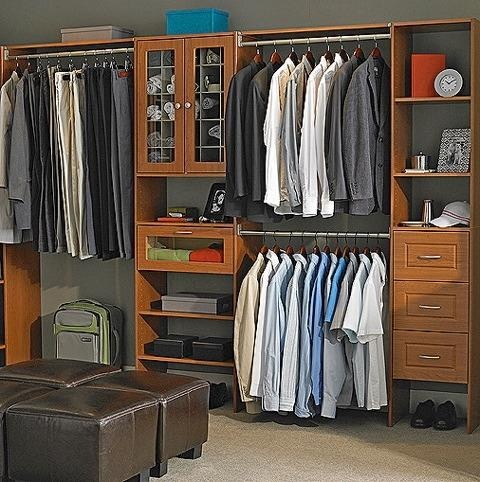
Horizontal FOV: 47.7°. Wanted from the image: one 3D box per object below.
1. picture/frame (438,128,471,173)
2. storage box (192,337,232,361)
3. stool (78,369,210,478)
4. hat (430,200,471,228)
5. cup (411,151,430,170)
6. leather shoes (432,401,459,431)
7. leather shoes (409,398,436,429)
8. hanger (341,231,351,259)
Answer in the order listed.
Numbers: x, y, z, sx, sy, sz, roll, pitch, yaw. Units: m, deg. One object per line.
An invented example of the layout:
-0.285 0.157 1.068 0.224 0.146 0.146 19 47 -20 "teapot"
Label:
1.213 -0.520 3.104 0.169 0.261 0.092 -1 -1 22 "picture/frame"
-0.182 0.689 3.438 0.150 0.077 0.156 0 0 10 "storage box"
-0.404 0.740 2.333 0.418 0.375 0.425 0 -1 30 "stool"
1.156 -0.152 2.995 0.187 0.097 0.128 2 1 -11 "hat"
1.019 -0.452 3.085 0.101 0.120 0.104 0 1 0 "cup"
1.165 1.003 3.100 0.080 0.082 0.217 -2 1 19 "leather shoes"
1.051 0.996 3.123 0.122 0.108 0.260 -1 -1 26 "leather shoes"
0.646 0.024 3.319 0.078 0.166 0.435 -1 -1 10 "hanger"
